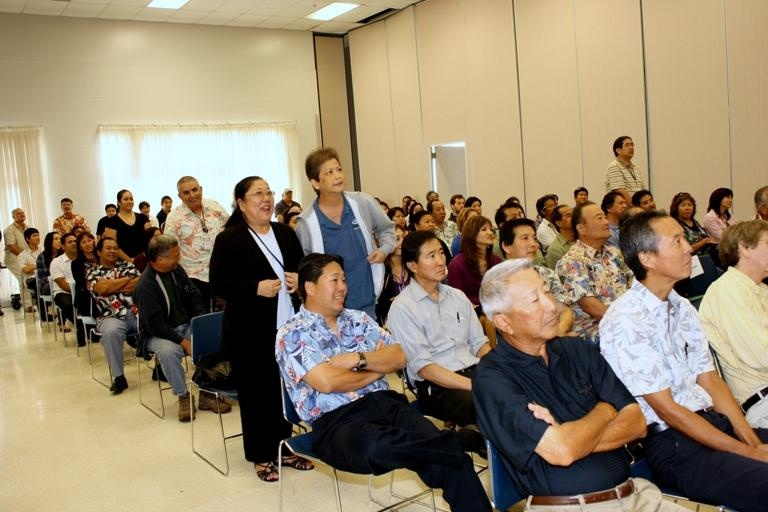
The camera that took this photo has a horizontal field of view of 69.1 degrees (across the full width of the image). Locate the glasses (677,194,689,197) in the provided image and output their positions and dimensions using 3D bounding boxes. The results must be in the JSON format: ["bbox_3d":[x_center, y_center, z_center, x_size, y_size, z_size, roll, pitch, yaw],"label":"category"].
[{"bbox_3d":[4.017,-0.821,7.522,0.099,0.049,0.123,2,1,28],"label":"glasses"}]

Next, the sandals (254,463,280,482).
[{"bbox_3d":[-0.893,1.666,4.324,0.132,0.079,0.308,1,-3,-34],"label":"sandals"}]

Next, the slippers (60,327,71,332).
[{"bbox_3d":[-4.840,1.116,8.520,0.110,0.079,0.201,0,-5,-30],"label":"slippers"}]

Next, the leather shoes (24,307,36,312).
[{"bbox_3d":[-6.453,0.976,10.241,0.192,0.076,0.041,-3,-13,37],"label":"leather shoes"}]

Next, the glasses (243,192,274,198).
[{"bbox_3d":[-0.909,-0.457,4.126,0.215,0.040,0.100,-5,9,-29],"label":"glasses"}]
